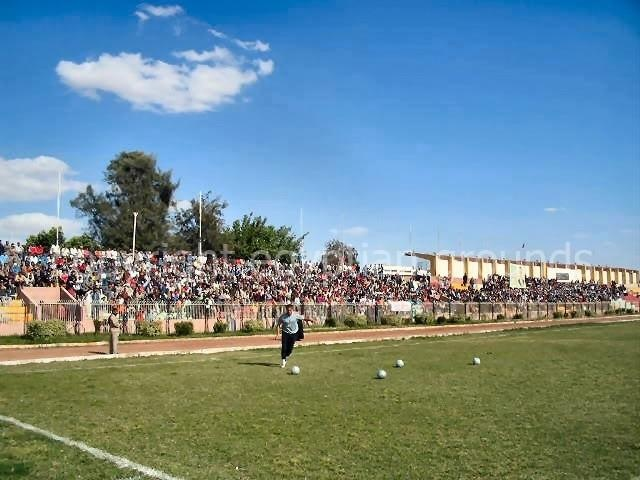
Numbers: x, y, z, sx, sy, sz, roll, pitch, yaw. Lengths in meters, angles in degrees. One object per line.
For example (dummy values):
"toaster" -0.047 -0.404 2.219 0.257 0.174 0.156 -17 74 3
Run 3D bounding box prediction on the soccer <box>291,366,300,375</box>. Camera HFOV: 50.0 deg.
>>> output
"soccer" -0.826 4.430 23.317 0.214 0.226 0.223 1 -1 29

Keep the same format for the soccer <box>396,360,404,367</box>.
"soccer" 2.930 4.478 24.886 0.238 0.228 0.191 -4 5 -22

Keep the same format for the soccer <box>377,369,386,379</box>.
"soccer" 2.030 4.396 22.478 0.208 0.241 0.273 11 -10 4

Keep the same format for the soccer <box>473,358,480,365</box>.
"soccer" 5.802 4.509 25.472 0.165 0.179 0.254 -13 -13 23
